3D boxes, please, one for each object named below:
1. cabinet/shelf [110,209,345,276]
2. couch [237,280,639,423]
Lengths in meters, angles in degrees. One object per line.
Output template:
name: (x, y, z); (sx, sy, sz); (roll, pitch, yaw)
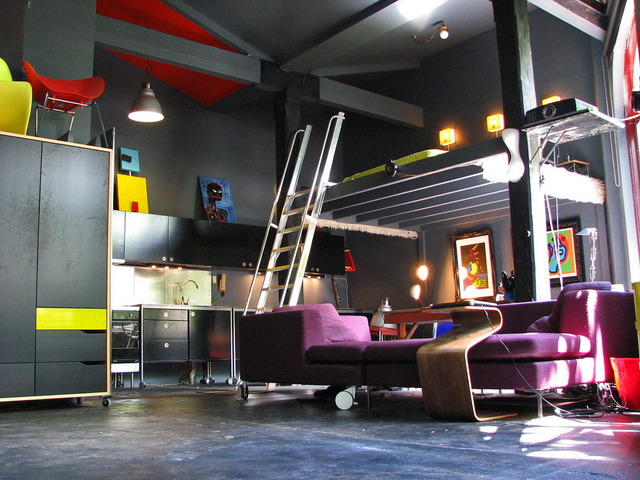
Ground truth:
cabinet/shelf: (-1.403, 0.078, 8.210); (3.442, 0.739, 0.605); (5, -10, -25)
couch: (0.829, 0.805, 4.001); (2.598, 0.880, 1.393); (-7, -12, 39)
